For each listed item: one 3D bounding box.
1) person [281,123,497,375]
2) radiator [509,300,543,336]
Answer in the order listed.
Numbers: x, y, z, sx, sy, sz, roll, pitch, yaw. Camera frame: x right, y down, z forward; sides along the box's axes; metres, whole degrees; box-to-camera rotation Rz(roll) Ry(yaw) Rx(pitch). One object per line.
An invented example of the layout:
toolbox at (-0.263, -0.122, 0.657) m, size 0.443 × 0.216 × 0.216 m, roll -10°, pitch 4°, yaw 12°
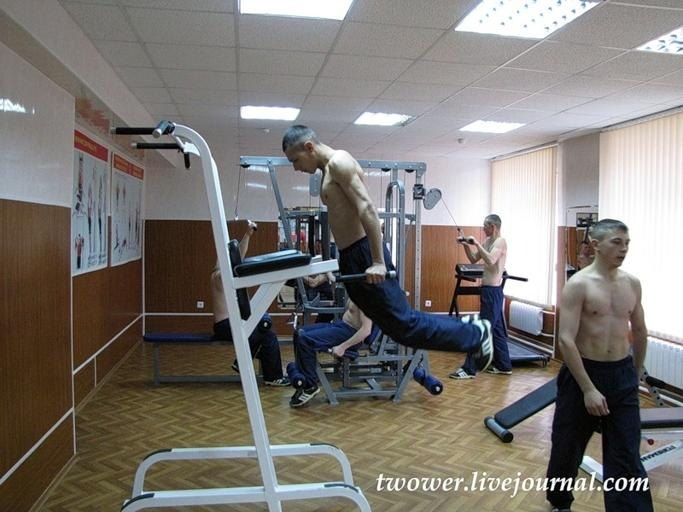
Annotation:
person at (0.321, -0.059, 3.674) m, size 1.557 × 1.778 × 0.634 m, roll 1°, pitch 6°, yaw 0°
radiator at (3.161, 1.050, 8.554) m, size 0.098 × 0.411 × 0.664 m, roll 1°, pitch 1°, yaw -11°
